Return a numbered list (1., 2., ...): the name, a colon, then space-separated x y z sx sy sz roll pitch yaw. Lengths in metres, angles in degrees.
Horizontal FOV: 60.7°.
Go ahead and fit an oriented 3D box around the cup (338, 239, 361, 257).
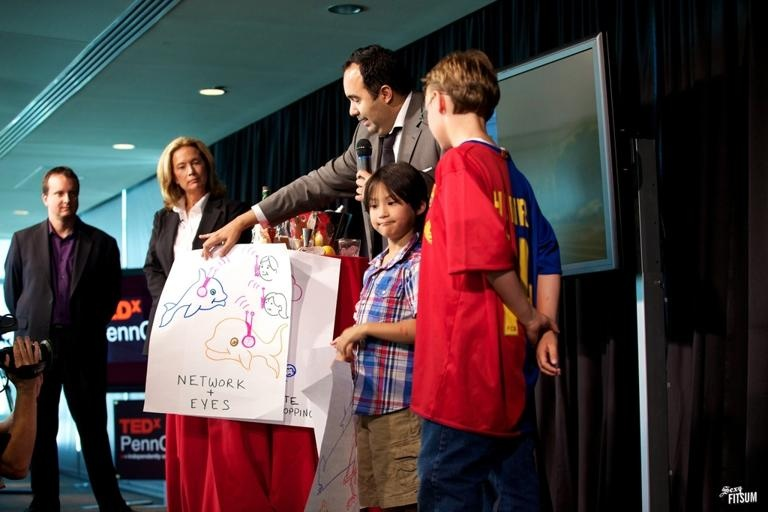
1. cup: -0.173 -0.041 3.350 0.079 0.083 0.095 4 0 -4
